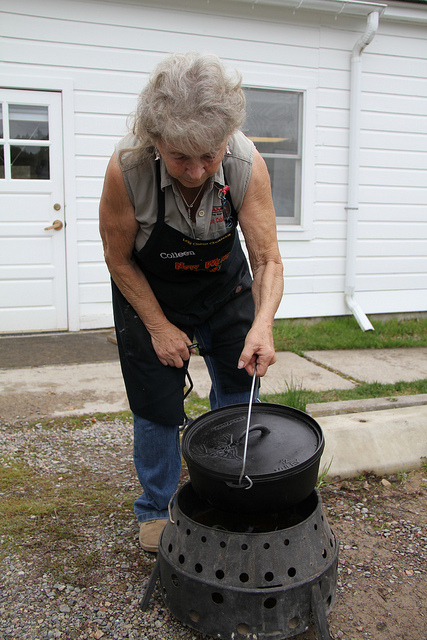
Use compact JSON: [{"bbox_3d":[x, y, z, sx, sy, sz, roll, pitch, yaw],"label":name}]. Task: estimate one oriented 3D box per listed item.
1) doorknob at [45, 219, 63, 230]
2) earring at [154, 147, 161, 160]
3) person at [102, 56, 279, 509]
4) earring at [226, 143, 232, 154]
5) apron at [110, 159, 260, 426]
[{"bbox_3d":[-1.482,-0.885,5.228,0.129,0.078,0.042,-27,7,8],"label":"doorknob"},{"bbox_3d":[-0.178,-0.535,1.800,0.017,0.037,0.032,-1,12,-13],"label":"earring"},{"bbox_3d":[-0.087,0.039,2.058,0.639,1.726,0.789,3,12,6],"label":"person"},{"bbox_3d":[0.054,-0.589,1.927,0.015,0.037,0.030,3,12,2],"label":"earring"},{"bbox_3d":[-0.083,-0.100,2.113,0.583,0.940,0.382,-1,12,-16],"label":"apron"}]
